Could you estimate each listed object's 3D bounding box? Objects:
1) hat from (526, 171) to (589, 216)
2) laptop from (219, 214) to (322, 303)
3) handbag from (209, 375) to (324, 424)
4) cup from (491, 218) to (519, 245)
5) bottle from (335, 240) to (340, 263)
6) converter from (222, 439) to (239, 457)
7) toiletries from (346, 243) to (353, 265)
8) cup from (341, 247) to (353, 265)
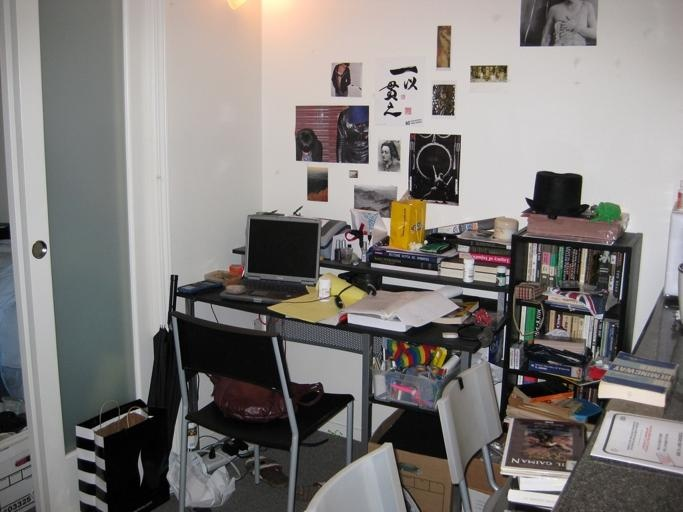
[{"bbox_3d":[1.058,-0.292,2.766,0.210,0.140,0.234,7,21,26],"label":"hat"},{"bbox_3d":[-0.379,-0.017,3.220,0.541,0.482,0.468,6,11,17],"label":"laptop"},{"bbox_3d":[-0.367,0.678,2.771,0.304,0.080,0.320,7,9,23],"label":"handbag"},{"bbox_3d":[0.857,-0.138,2.987,0.127,0.130,0.134,1,10,0],"label":"cup"},{"bbox_3d":[-0.018,-0.028,3.320,0.033,0.111,0.030,1,10,0],"label":"bottle"},{"bbox_3d":[-0.651,1.154,3.395,0.067,0.033,0.069,14,19,40],"label":"converter"},{"bbox_3d":[0.053,-0.017,3.306,0.033,0.100,0.046,1,10,-2],"label":"toiletries"},{"bbox_3d":[0.027,0.003,3.266,0.079,0.094,0.084,1,5,0],"label":"cup"}]
